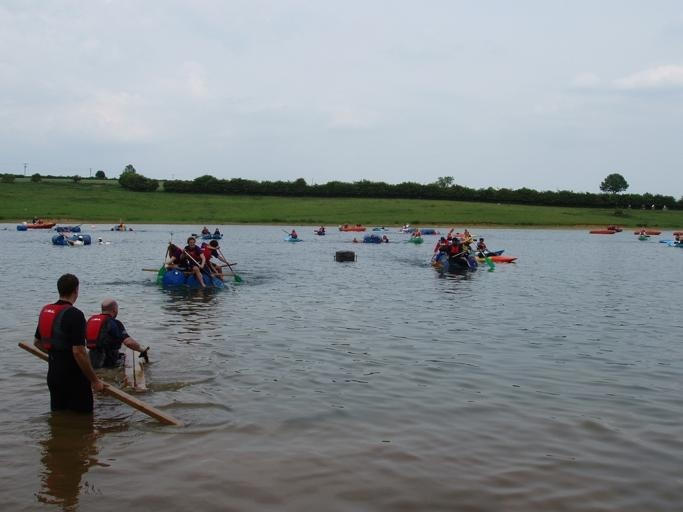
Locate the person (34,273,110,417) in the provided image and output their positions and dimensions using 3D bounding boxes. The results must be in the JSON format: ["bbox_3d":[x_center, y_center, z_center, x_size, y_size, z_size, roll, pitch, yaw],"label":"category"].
[{"bbox_3d":[-5.183,1.747,13.369,1.167,2.826,0.736,4,7,33],"label":"person"}]

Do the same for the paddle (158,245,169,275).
[{"bbox_3d":[-10.484,0.239,40.935,0.904,0.548,2.871,-9,31,-7],"label":"paddle"}]
